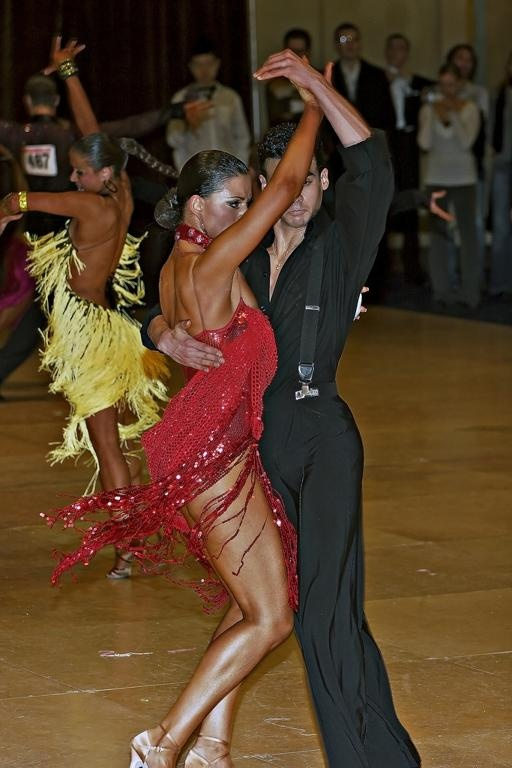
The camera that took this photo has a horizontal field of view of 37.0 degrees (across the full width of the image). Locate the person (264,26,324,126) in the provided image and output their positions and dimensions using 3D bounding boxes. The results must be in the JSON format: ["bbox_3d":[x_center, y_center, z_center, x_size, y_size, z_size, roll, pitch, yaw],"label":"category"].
[{"bbox_3d":[0.521,-3.804,9.992,0.627,1.796,0.414,3,-4,4],"label":"person"}]

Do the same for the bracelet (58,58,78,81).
[{"bbox_3d":[-0.955,-1.600,3.880,0.117,0.128,0.125,-2,45,-15],"label":"bracelet"}]
